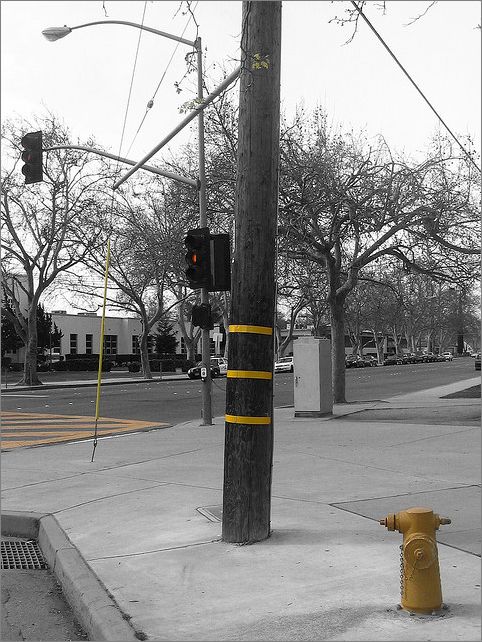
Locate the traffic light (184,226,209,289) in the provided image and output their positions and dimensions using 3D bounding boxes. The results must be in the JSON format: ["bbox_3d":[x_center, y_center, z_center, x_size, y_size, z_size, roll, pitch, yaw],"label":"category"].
[{"bbox_3d":[-0.667,-0.941,11.635,0.296,0.932,0.337,1,-22,-3],"label":"traffic light"}]

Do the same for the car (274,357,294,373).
[{"bbox_3d":[3.467,3.502,62.156,1.309,1.374,3.699,-4,-9,14],"label":"car"}]

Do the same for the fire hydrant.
[{"bbox_3d":[0.926,1.287,4.256,0.430,0.716,0.417,-1,-10,0],"label":"fire hydrant"}]

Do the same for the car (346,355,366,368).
[{"bbox_3d":[11.933,4.191,80.616,1.335,1.161,4.460,-1,-2,20],"label":"car"}]

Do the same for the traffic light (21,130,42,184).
[{"bbox_3d":[-3.878,-3.072,14.225,0.359,0.986,0.555,0,-1,-20],"label":"traffic light"}]
